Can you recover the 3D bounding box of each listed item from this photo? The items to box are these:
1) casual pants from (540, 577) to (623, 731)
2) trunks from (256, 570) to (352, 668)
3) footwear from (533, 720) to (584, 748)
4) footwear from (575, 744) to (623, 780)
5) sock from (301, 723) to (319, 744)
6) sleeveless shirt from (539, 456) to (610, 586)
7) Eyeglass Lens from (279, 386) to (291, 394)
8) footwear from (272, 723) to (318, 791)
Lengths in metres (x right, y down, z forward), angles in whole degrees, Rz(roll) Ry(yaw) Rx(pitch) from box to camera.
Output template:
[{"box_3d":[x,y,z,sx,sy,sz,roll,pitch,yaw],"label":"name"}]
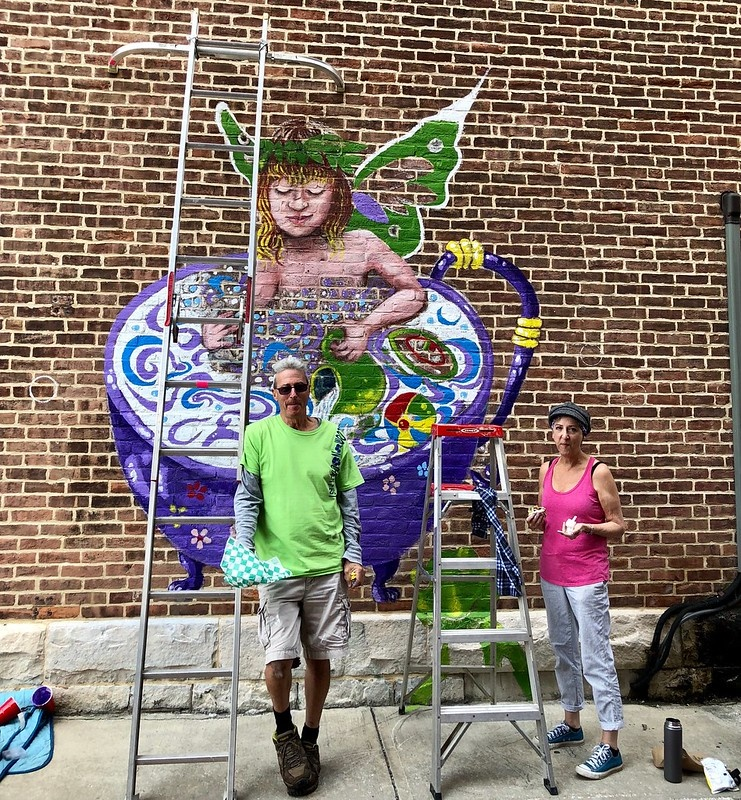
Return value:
[{"box_3d":[1.177,1.336,5.757,0.281,0.752,0.601,-5,15,-21],"label":"casual pants"},{"box_3d":[-0.324,1.124,5.440,0.470,0.452,0.286,-2,15,-11],"label":"trunks"},{"box_3d":[1.009,1.832,5.835,0.378,0.139,0.112,2,17,-8],"label":"footwear"},{"box_3d":[1.245,1.885,5.597,0.329,0.129,0.112,0,2,-31],"label":"footwear"},{"box_3d":[-0.310,1.736,5.593,0.110,0.094,0.105,9,-14,-41],"label":"sock"},{"box_3d":[1.106,0.664,5.822,0.303,0.676,0.475,-1,14,-8],"label":"sleeveless shirt"},{"box_3d":[-0.435,-0.048,5.474,0.068,0.055,0.015,6,16,22],"label":"Eyeglass Lens"},{"box_3d":[-0.361,1.828,5.437,0.233,0.274,0.253,-2,14,-10],"label":"footwear"}]
